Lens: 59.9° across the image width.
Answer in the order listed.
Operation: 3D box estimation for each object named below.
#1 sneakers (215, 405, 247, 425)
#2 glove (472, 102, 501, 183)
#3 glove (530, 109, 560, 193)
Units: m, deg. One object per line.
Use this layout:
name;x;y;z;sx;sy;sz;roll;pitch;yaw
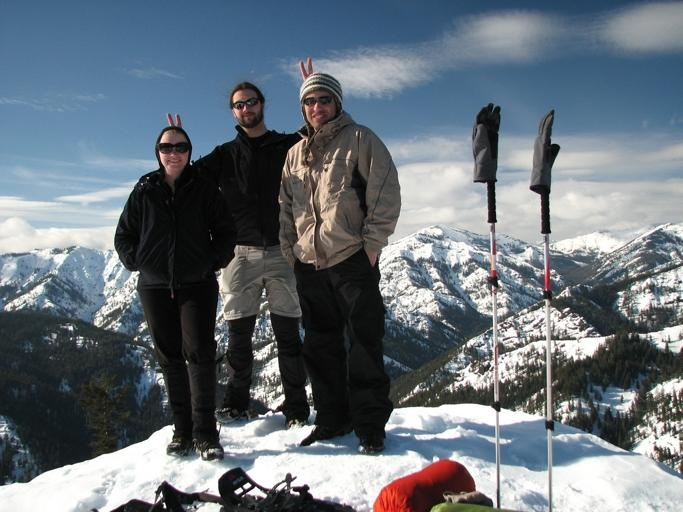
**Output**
sneakers;-2.032;2.915;10.993;0.236;0.306;0.665;-10;-24;44
glove;2.214;-1.728;9.096;0.380;1.187;0.445;0;8;12
glove;2.970;-1.518;8.700;0.362;1.184;0.356;2;8;22
